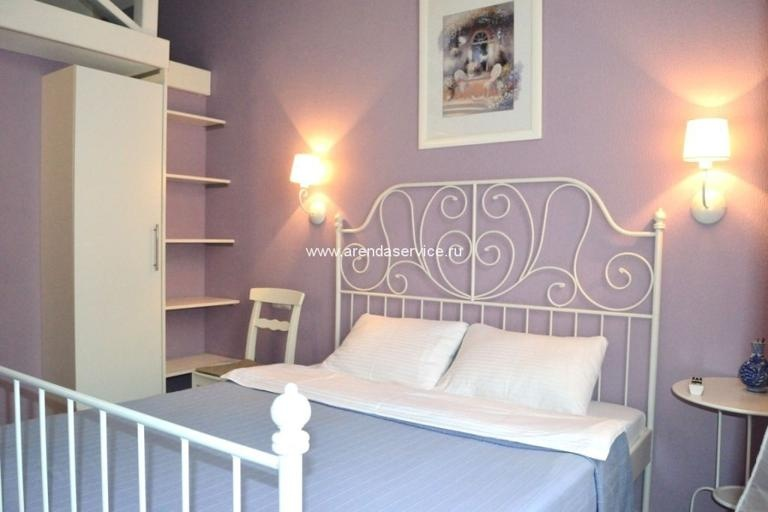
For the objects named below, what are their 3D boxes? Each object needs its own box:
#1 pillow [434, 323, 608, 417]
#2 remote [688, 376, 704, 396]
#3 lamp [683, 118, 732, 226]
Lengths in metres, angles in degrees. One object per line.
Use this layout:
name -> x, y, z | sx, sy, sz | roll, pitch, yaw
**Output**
pillow -> 0.784, 0.626, 3.159 | 0.801, 0.293, 0.547 | 6, 14, 32
remote -> 1.590, 0.668, 2.801 | 0.067, 0.081, 0.086 | 4, -2, 38
lamp -> 1.735, -0.446, 2.976 | 0.223, 0.565, 0.207 | 5, 14, 26
